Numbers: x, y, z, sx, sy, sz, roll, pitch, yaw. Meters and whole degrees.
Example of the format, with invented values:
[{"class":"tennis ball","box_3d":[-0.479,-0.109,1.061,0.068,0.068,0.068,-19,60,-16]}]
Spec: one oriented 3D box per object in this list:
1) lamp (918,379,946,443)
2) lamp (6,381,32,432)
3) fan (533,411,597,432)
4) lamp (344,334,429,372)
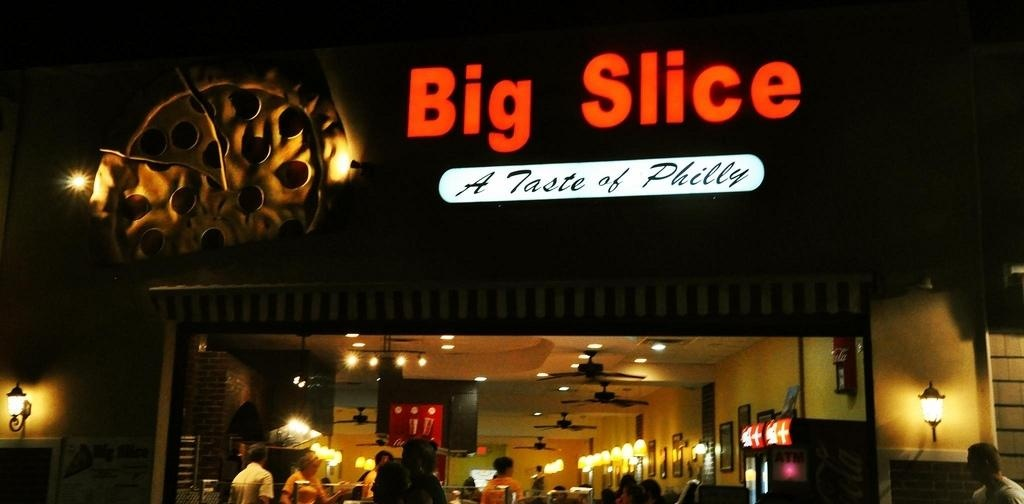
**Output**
[{"class":"lamp","box_3d":[6.092,2.335,14.423,0.582,0.826,0.532,-3,-7,14]},{"class":"lamp","box_3d":[-7.701,2.437,15.473,0.339,0.727,0.342,12,-24,-30]},{"class":"fan","box_3d":[1.726,5.666,33.237,1.930,0.439,1.713,-8,-17,39]},{"class":"lamp","box_3d":[-2.764,2.201,21.950,1.519,0.580,1.386,0,-14,0]}]
